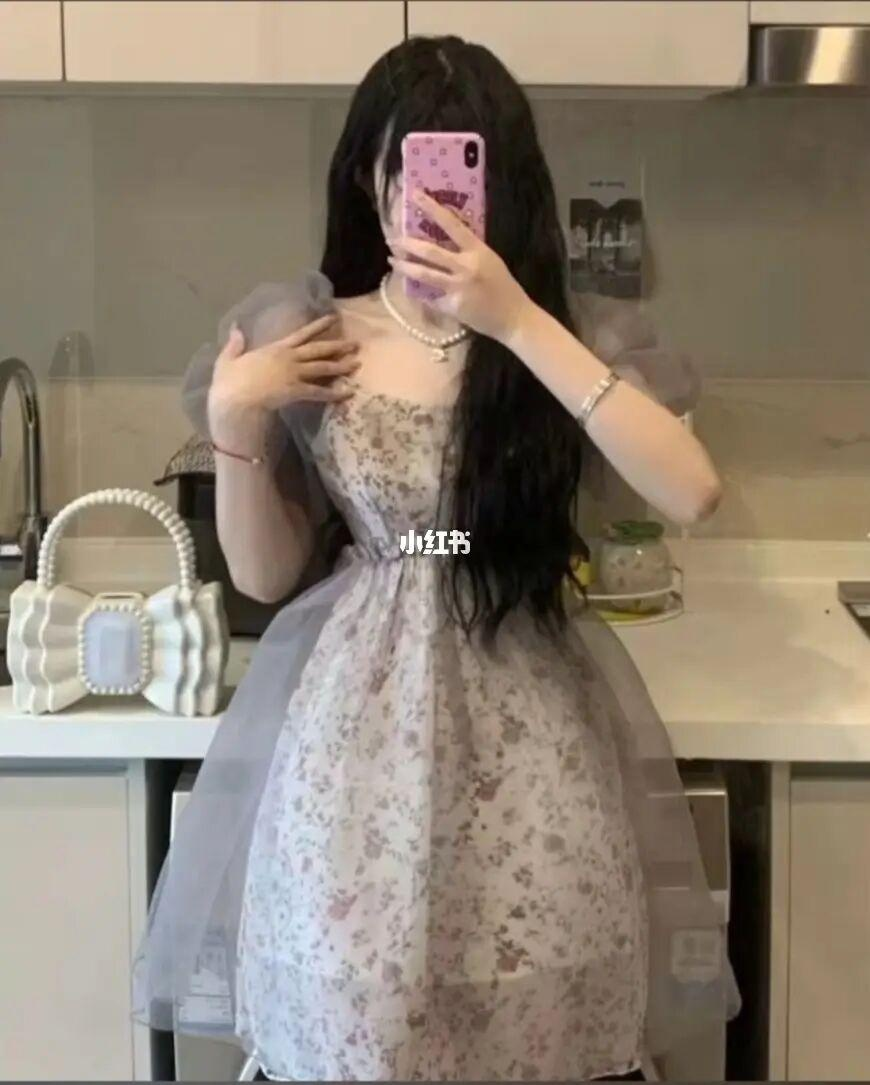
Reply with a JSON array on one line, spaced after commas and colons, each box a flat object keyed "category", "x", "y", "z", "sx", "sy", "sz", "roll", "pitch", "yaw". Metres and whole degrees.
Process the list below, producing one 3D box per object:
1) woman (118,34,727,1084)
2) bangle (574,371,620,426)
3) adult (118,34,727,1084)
[{"category": "woman", "x": -0.011, "y": 0.039, "z": 0.951, "sx": 0.412, "sy": 0.734, "sz": 0.170, "roll": -3, "pitch": 16, "yaw": -12}, {"category": "bangle", "x": 0.106, "y": -0.097, "z": 0.915, "sx": 0.008, "sy": 0.035, "sz": 0.025, "roll": 32, "pitch": -26, "yaw": -4}, {"category": "adult", "x": -0.011, "y": 0.039, "z": 0.951, "sx": 0.412, "sy": 0.734, "sz": 0.170, "roll": -3, "pitch": 16, "yaw": -12}]
